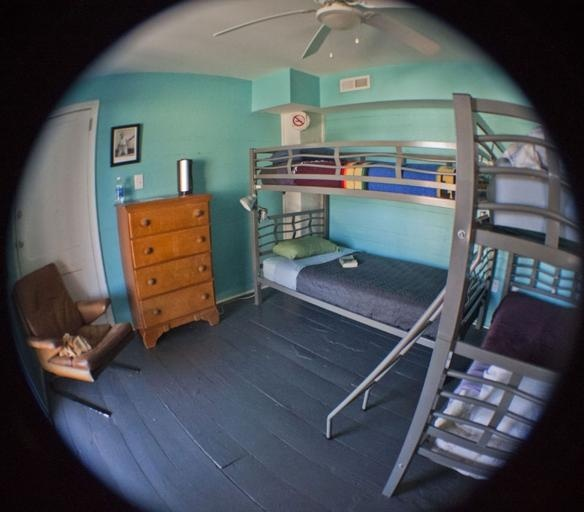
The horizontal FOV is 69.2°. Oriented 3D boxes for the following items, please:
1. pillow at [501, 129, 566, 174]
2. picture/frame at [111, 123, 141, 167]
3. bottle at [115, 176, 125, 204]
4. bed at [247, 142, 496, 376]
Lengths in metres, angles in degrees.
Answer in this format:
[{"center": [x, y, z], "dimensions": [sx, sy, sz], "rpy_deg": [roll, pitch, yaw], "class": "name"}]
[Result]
[{"center": [0.598, -0.257, 1.058], "dimensions": [0.106, 0.085, 0.036], "rpy_deg": [-20, -5, 42], "class": "pillow"}, {"center": [-0.400, -0.270, 1.015], "dimensions": [0.004, 0.091, 0.082], "rpy_deg": [24, 31, 33], "class": "picture/frame"}, {"center": [-0.426, -0.165, 1.051], "dimensions": [0.024, 0.059, 0.056], "rpy_deg": [-6, 13, -22], "class": "bottle"}, {"center": [0.455, 0.038, 2.627], "dimensions": [0.725, 1.169, 1.293], "rpy_deg": [-9, 12, -43], "class": "bed"}]
